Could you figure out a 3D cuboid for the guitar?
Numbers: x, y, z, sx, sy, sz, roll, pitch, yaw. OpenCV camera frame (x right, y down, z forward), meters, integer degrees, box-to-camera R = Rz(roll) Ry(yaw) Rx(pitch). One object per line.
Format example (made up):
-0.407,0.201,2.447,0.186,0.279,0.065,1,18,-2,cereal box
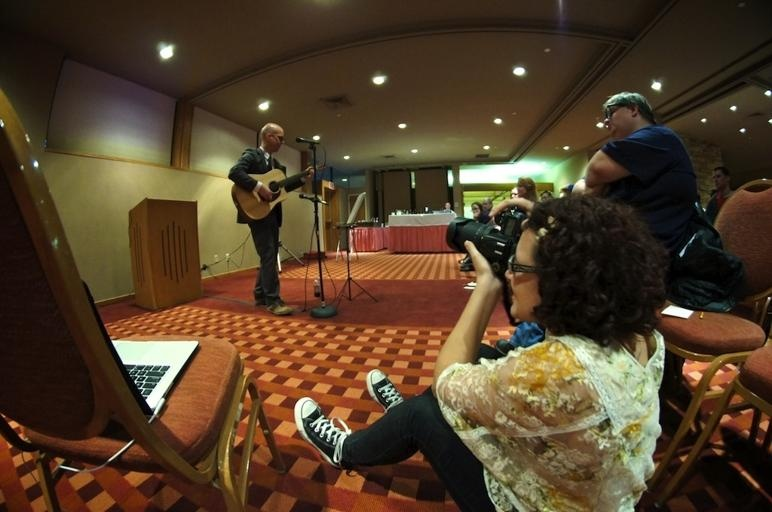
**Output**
-1.154,-0.751,5.286,0.142,0.501,0.998,-12,21,46,guitar

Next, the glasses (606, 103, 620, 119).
1.741,-1.116,3.690,0.074,0.092,0.098,9,-7,-14,glasses

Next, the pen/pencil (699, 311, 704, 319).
2.215,0.418,3.361,0.019,0.020,0.066,-4,22,30,pen/pencil

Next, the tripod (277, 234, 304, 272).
-1.705,-0.042,8.592,0.510,0.468,0.692,-25,-19,33,tripod

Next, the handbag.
2.267,0.123,3.394,0.581,0.805,0.311,8,-18,32,handbag
